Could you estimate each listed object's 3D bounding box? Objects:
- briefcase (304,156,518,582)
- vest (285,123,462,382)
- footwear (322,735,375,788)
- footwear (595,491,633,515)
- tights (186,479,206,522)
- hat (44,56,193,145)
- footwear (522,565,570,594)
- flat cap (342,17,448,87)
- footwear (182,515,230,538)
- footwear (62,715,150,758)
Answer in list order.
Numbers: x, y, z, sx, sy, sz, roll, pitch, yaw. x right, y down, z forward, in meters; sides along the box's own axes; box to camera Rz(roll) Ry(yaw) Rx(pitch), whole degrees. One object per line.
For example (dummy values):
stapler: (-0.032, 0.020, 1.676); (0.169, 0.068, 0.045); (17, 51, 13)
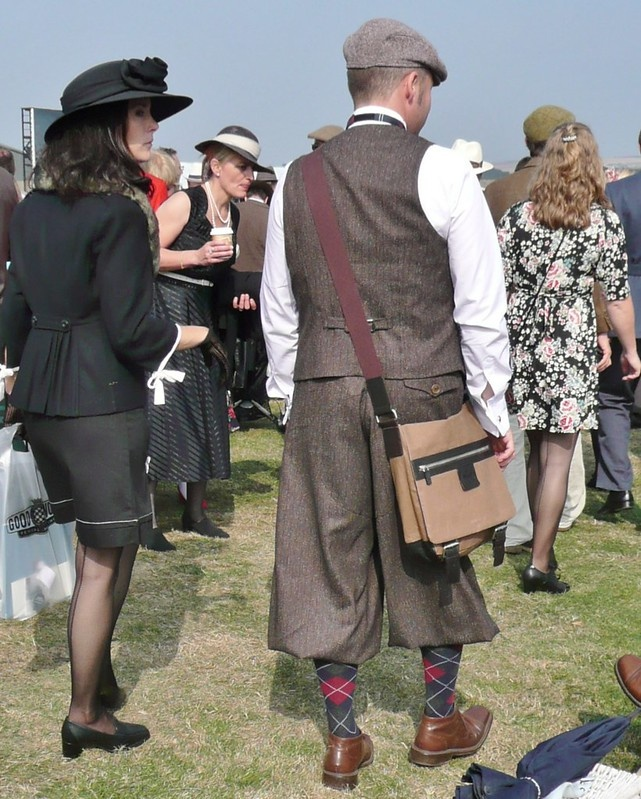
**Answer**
briefcase: (0.177, -0.097, 2.196); (0.171, 1.085, 0.301); (-8, 11, 23)
vest: (0.115, -0.348, 2.168); (0.456, 0.634, 0.199); (7, 11, 25)
footwear: (0.074, 0.960, 2.374); (0.081, 0.086, 0.207); (1, 6, 12)
footwear: (1.696, 0.599, 5.072); (0.098, 0.115, 0.258); (-4, -1, -13)
tights: (-0.636, 0.515, 4.445); (0.129, 0.265, 0.069); (-24, 56, -18)
hat: (-0.531, -0.755, 2.196); (0.302, 0.227, 0.128); (-1, 10, -18)
footwear: (0.972, 0.781, 3.819); (0.208, 0.094, 0.102); (-1, 8, -15)
flat cap: (0.181, -0.851, 2.138); (0.253, 0.146, 0.112); (2, 10, 0)
footwear: (-0.597, 0.660, 4.472); (0.251, 0.089, 0.094); (9, 2, 5)
footwear: (-0.599, 0.942, 2.489); (0.269, 0.101, 0.091); (-3, 1, -28)
